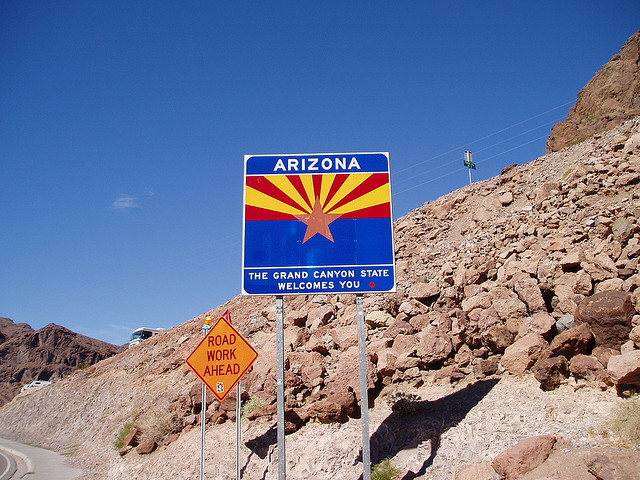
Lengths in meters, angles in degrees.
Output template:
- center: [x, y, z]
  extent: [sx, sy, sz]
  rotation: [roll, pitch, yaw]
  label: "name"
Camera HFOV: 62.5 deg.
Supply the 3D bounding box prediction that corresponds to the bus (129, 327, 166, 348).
- center: [-16.473, 9.030, 48.939]
  extent: [2.445, 2.073, 3.623]
  rotation: [-1, -23, -20]
  label: "bus"
